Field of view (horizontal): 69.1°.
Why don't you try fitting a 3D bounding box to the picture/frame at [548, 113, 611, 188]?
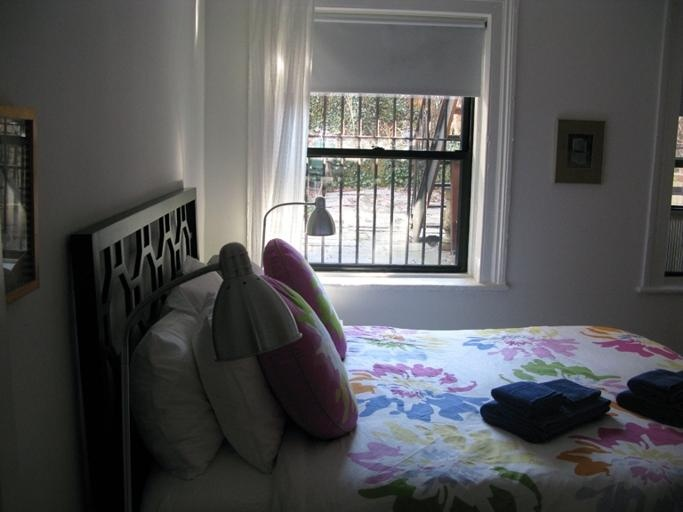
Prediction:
[{"bbox_3d":[1.607,-0.736,3.374,0.433,0.649,0.046,1,5,-4],"label":"picture/frame"}]
